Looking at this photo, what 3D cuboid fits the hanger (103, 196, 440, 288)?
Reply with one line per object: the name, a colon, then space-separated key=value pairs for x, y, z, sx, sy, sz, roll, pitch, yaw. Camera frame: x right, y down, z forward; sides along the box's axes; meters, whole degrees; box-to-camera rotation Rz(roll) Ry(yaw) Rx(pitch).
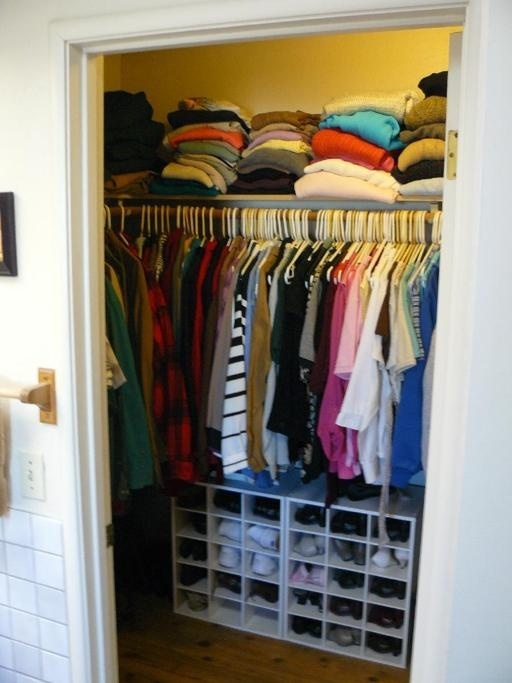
hanger: x=0.027 y=-0.497 z=2.587 sx=1.459 sy=0.236 sz=0.496 roll=2 pitch=11 yaw=21
